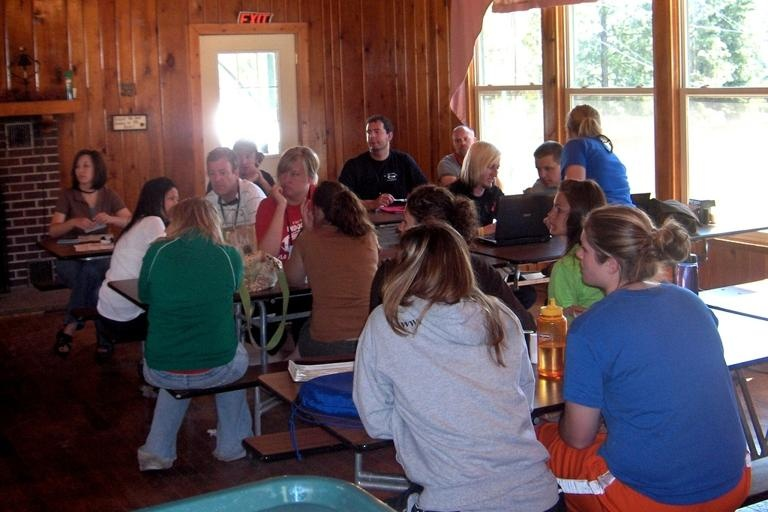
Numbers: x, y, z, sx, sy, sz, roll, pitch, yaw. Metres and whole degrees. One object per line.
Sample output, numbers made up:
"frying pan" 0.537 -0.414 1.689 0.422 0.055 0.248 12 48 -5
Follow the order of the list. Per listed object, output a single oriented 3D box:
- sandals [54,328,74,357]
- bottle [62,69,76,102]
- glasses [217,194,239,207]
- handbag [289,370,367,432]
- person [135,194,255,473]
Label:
"sandals" -2.690 0.733 5.246 0.105 0.108 0.283 26 12 -35
"bottle" -3.589 -1.985 7.105 0.118 0.336 0.114 0 14 0
"glasses" -1.295 -0.451 5.270 0.204 0.100 0.184 -9 -2 -6
"handbag" -0.235 0.594 2.565 0.284 0.099 0.201 -3 4 -30
"person" -1.133 0.496 3.596 0.665 1.616 0.419 -3 15 -14
